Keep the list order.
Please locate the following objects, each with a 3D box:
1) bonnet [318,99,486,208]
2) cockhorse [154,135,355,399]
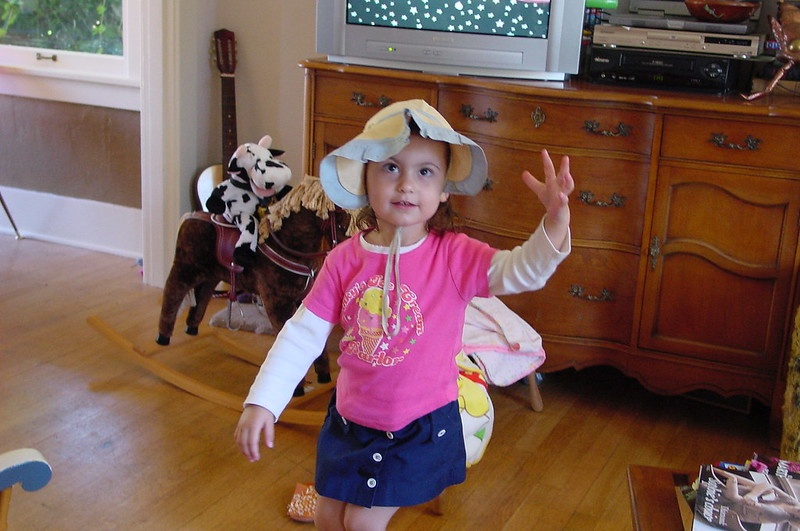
[{"bbox_3d":[0.047,-0.316,1.606,0.423,0.201,0.427,-9,-18,5],"label":"bonnet"},{"bbox_3d":[-0.611,-0.041,2.661,0.963,0.970,0.318,8,15,15],"label":"cockhorse"}]
